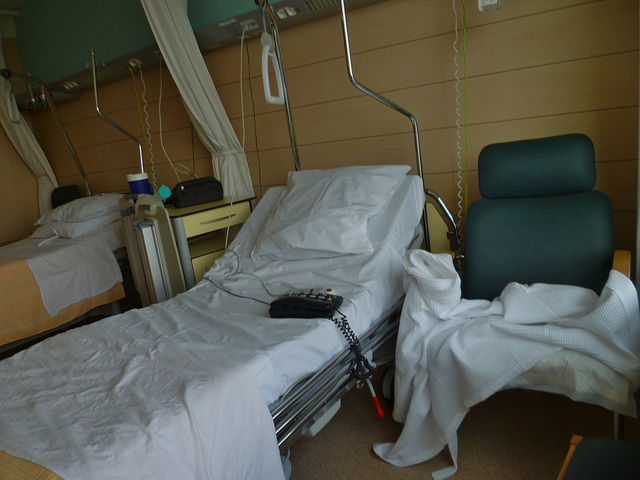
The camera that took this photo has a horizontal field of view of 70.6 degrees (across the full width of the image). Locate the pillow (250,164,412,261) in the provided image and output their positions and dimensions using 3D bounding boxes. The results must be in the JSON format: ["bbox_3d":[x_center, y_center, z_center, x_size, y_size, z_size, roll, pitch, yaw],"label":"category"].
[{"bbox_3d":[-0.035,-0.108,2.728,0.631,0.222,0.662,-2,27,15],"label":"pillow"}]

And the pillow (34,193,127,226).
[{"bbox_3d":[-2.197,-0.283,4.156,0.393,0.124,0.397,-20,11,24],"label":"pillow"}]
